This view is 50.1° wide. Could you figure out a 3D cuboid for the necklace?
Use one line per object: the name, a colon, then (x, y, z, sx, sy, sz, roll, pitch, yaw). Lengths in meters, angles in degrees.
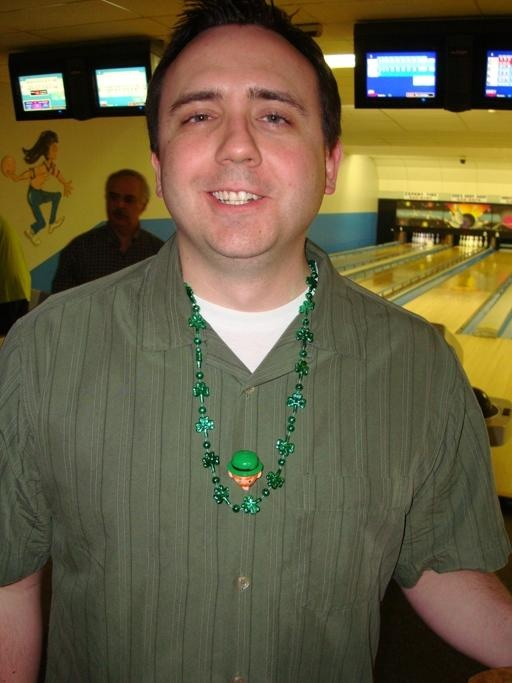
necklace: (-0.008, 0.044, 0.749, 0.182, 0.241, 0.302, 1, 22, 6)
